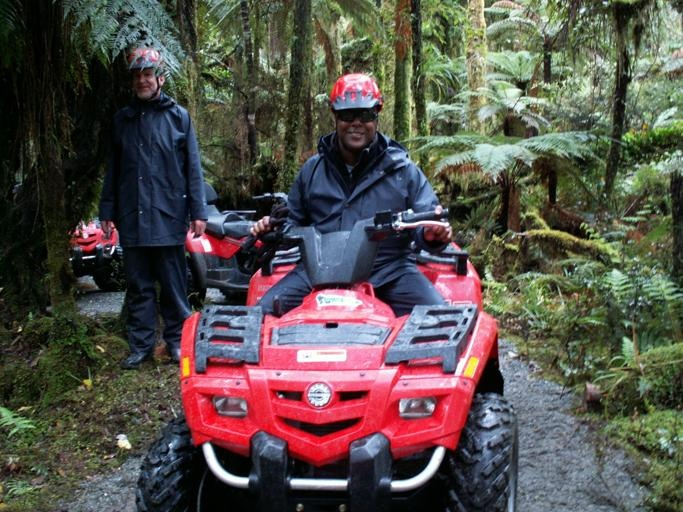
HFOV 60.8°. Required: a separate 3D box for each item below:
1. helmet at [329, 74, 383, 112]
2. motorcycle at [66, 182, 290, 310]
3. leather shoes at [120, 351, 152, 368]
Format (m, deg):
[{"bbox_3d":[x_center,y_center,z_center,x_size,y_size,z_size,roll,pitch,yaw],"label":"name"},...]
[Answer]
[{"bbox_3d":[0.097,-1.235,4.399,0.394,0.300,0.631,-1,14,10],"label":"helmet"},{"bbox_3d":[-1.897,0.281,8.627,1.815,2.216,3.037,5,0,41],"label":"motorcycle"},{"bbox_3d":[-1.949,1.006,5.547,0.110,0.133,0.267,23,8,24],"label":"leather shoes"}]
